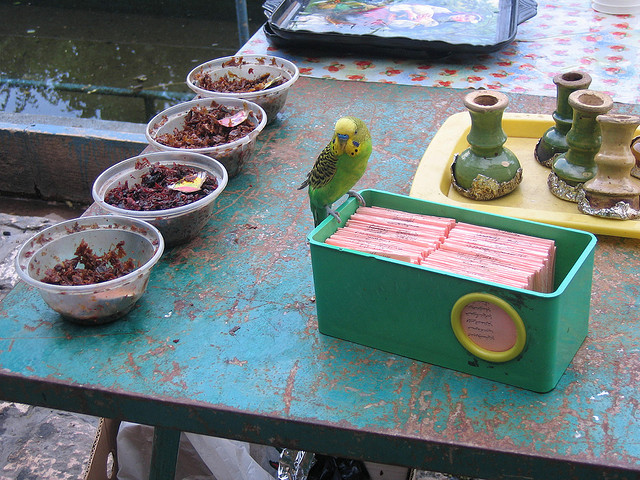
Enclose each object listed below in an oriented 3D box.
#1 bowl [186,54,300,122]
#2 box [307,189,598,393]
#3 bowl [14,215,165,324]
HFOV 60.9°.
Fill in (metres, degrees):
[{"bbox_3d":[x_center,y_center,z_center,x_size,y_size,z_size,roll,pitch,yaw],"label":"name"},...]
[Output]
[{"bbox_3d":[-0.248,-0.546,1.733,0.328,0.118,0.281,-4,40,-4],"label":"bowl"},{"bbox_3d":[0.249,0.079,1.039,0.505,0.213,0.264,15,40,20],"label":"box"},{"bbox_3d":[-0.474,0.066,1.135,0.278,0.101,0.237,7,32,15],"label":"bowl"}]
